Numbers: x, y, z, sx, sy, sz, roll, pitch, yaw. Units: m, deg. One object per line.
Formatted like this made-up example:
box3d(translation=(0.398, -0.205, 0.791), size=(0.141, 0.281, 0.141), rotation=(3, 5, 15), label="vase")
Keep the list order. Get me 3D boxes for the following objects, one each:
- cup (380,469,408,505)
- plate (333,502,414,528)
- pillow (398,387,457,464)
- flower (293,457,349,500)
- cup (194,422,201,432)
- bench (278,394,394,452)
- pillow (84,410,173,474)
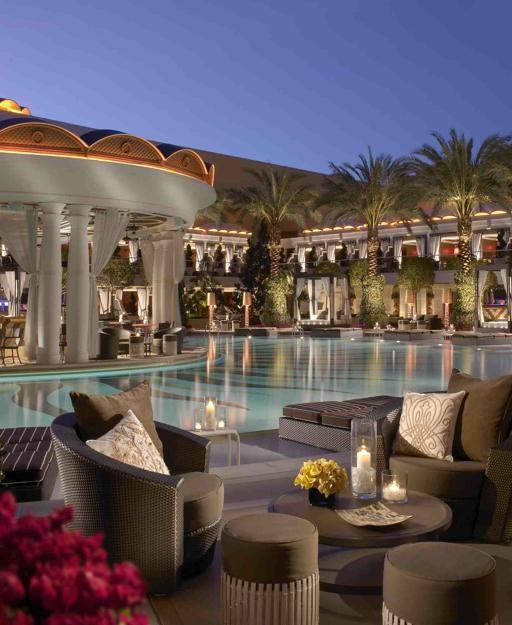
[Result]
box3d(translation=(0.877, 1.089, 3.035), size=(0.164, 0.186, 0.172), rotation=(0, -4, 0), label="cup")
box3d(translation=(0.688, 1.184, 2.827), size=(0.370, 0.031, 0.329), rotation=(1, -3, -30), label="plate")
box3d(translation=(1.429, 0.956, 3.985), size=(0.477, 0.523, 0.203), rotation=(-4, -33, 48), label="pillow")
box3d(translation=(0.387, 0.985, 3.024), size=(0.259, 0.171, 0.259), rotation=(1, -3, -15), label="flower")
box3d(translation=(-0.693, 1.373, 5.805), size=(0.084, 0.098, 0.086), rotation=(0, -1, 0), label="cup")
box3d(translation=(0.953, 1.399, 6.192), size=(1.419, 0.376, 0.870), rotation=(4, -5, -44), label="bench")
box3d(translation=(-0.815, 0.886, 3.152), size=(0.424, 0.127, 0.421), rotation=(30, 22, -31), label="pillow")
